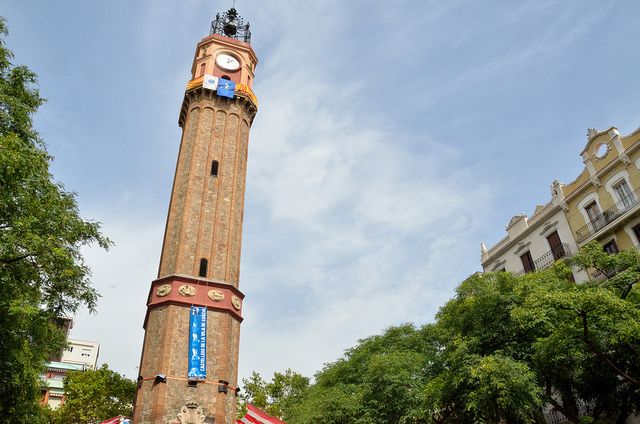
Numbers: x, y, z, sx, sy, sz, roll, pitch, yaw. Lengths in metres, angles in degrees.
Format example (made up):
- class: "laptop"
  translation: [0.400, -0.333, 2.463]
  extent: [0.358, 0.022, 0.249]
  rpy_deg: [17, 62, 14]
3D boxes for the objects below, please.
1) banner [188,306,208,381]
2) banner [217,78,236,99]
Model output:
- class: "banner"
  translation: [-8.034, 8.513, 29.433]
  extent: [1.302, 4.632, 0.946]
  rpy_deg: [5, -37, -12]
- class: "banner"
  translation: [-8.197, -10.706, 38.986]
  extent: [2.313, 2.293, 0.255]
  rpy_deg: [5, -33, -26]
